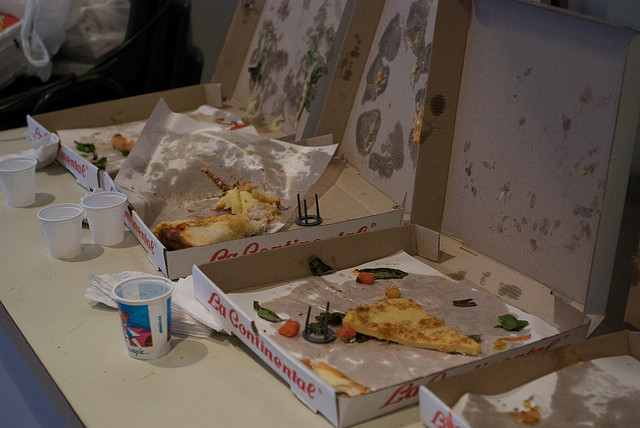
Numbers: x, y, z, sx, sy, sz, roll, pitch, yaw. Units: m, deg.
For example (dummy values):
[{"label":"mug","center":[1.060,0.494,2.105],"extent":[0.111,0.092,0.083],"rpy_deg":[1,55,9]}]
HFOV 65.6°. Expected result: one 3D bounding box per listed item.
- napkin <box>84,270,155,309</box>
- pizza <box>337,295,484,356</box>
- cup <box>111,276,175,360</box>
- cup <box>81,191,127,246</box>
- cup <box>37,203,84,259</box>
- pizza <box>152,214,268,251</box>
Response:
[{"label":"napkin","center":[-0.502,0.193,1.222],"extent":[0.128,0.036,0.105],"rpy_deg":[11,37,17]},{"label":"pizza","center":[0.198,0.256,1.113],"extent":[0.222,0.040,0.134],"rpy_deg":[19,33,32]},{"label":"cup","center":[-0.380,0.232,1.109],"extent":[0.128,0.149,0.140],"rpy_deg":[-1,12,0]},{"label":"cup","center":[-0.597,0.015,1.457],"extent":[0.133,0.143,0.139],"rpy_deg":[2,22,-1]},{"label":"cup","center":[-0.700,0.047,1.358],"extent":[0.093,0.132,0.103],"rpy_deg":[24,28,38]},{"label":"pizza","center":[-0.307,0.043,1.357],"extent":[0.185,0.057,0.124],"rpy_deg":[-3,23,-30]}]
